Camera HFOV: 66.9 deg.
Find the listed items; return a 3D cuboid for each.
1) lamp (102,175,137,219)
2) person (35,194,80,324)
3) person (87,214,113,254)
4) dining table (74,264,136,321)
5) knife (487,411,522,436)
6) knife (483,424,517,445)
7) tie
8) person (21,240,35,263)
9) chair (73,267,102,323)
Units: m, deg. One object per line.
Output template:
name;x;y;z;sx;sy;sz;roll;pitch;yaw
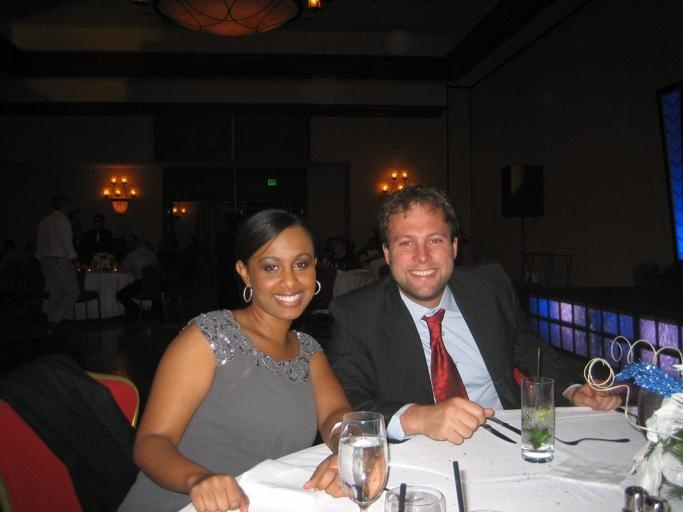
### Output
lamp;-4.559;-1.250;10.641;0.809;0.863;0.316;2;14;6
person;-3.977;0.059;7.225;0.515;1.791;0.384;-1;4;-18
person;-4.812;-0.416;10.213;0.514;0.794;0.189;-1;4;-15
dining table;-3.698;0.558;8.525;0.696;0.621;0.618;14;9;41
knife;0.577;0.590;1.865;0.029;0.024;0.212;-13;7;-10
knife;0.538;0.598;1.776;0.028;0.015;0.165;-15;7;-10
tie;0.438;0.435;2.265;0.140;0.373;0.216;-1;4;-11
person;-6.295;-0.106;10.398;0.242;0.360;0.716;-2;3;-32
chair;-3.866;0.585;7.945;0.461;0.692;0.461;0;9;14
